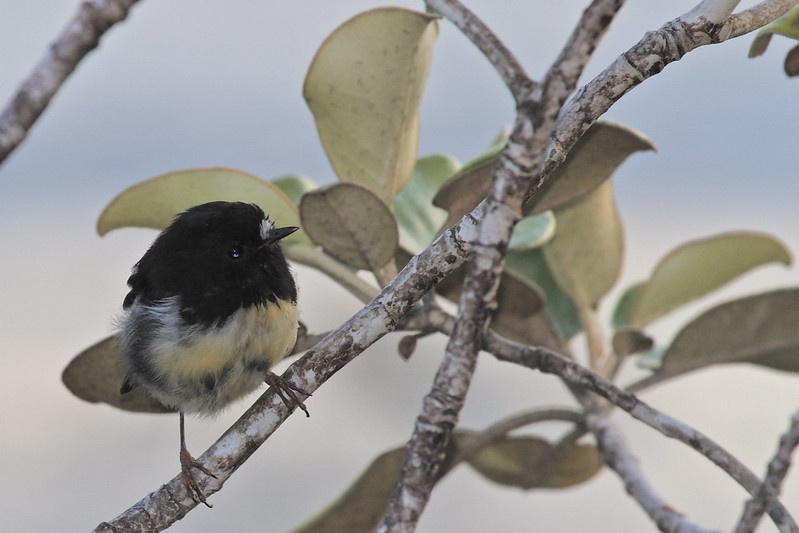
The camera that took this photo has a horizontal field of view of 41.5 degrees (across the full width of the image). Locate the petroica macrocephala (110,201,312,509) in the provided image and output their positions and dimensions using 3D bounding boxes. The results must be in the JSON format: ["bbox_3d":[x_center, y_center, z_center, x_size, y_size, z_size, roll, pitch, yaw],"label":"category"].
[{"bbox_3d":[-0.303,0.094,1.691,0.443,0.260,0.400,27,-53,43],"label":"petroica macrocephala"}]
